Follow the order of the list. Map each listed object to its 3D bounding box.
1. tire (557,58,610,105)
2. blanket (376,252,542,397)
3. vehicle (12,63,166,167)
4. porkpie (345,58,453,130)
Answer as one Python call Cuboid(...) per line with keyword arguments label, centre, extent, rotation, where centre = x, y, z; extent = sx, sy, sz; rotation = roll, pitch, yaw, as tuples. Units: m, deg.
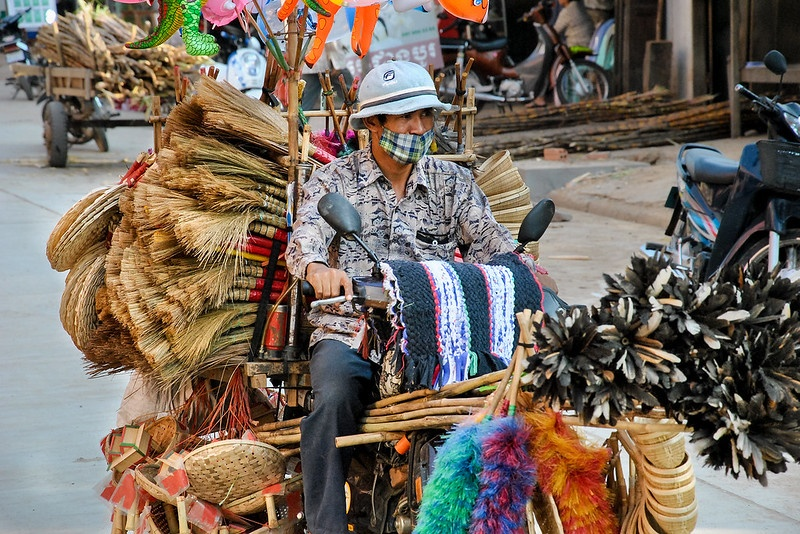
Cuboid(label="tire", centre=(2.299, -2.320, 14.012), extent=(0.530, 0.620, 0.173), rotation=(5, 12, 28))
Cuboid(label="blanket", centre=(0.287, 0.247, 5.089), extent=(0.730, 0.545, 0.242), rotation=(-4, 11, -23))
Cuboid(label="vehicle", centre=(-3.809, -1.870, 13.862), extent=(1.074, 0.962, 2.455), rotation=(-2, 10, -19))
Cuboid(label="porkpie", centre=(-0.033, -0.835, 5.418), extent=(0.316, 0.199, 0.287), rotation=(-8, 2, 39))
